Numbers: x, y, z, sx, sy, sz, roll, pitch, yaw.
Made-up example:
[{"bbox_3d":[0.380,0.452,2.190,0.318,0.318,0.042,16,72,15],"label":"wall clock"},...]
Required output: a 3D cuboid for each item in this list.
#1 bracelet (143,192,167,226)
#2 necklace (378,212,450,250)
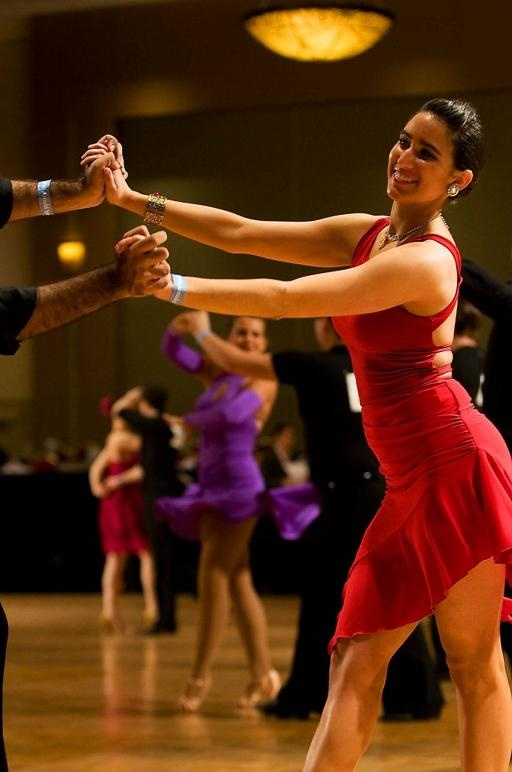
[{"bbox_3d":[-0.205,-0.372,1.632,0.051,0.062,0.076,7,2,-5],"label":"bracelet"},{"bbox_3d":[0.280,-0.273,1.407,0.120,0.056,0.064,-19,18,14],"label":"necklace"}]
